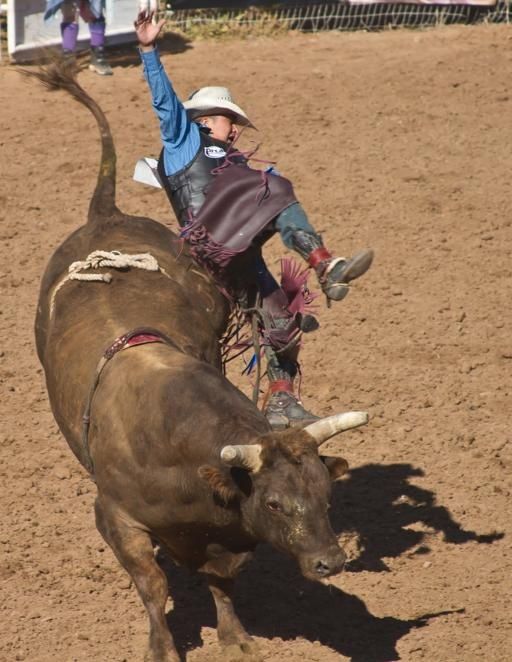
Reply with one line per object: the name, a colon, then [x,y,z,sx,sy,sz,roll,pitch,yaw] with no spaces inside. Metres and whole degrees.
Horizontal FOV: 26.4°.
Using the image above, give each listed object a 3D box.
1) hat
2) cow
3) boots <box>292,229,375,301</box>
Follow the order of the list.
hat: [-0.209,-1.264,6.150,0.388,0.140,0.272,4,-3,-4]
cow: [-0.624,0.017,5.284,1.047,2.084,3.061,-17,57,-27]
boots: [0.342,-0.326,5.152,0.148,0.268,0.431,-19,-1,-21]
